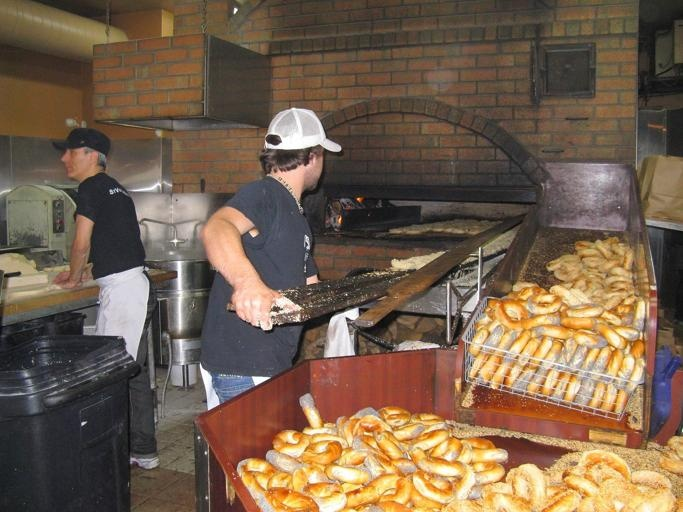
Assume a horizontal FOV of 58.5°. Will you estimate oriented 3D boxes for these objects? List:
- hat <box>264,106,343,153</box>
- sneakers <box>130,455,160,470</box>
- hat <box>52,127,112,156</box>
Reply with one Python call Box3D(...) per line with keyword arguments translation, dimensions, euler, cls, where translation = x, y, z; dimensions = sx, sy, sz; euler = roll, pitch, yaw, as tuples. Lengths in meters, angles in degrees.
Box3D(translation=(-0.167, -0.529, 2.570), dimensions=(0.260, 0.143, 0.181), euler=(-13, 25, -30), cls="hat")
Box3D(translation=(-1.116, 1.177, 3.471), dimensions=(0.154, 0.064, 0.080), euler=(8, 6, 3), cls="sneakers")
Box3D(translation=(-1.522, -0.677, 3.572), dimensions=(0.280, 0.137, 0.190), euler=(15, 3, -26), cls="hat")
